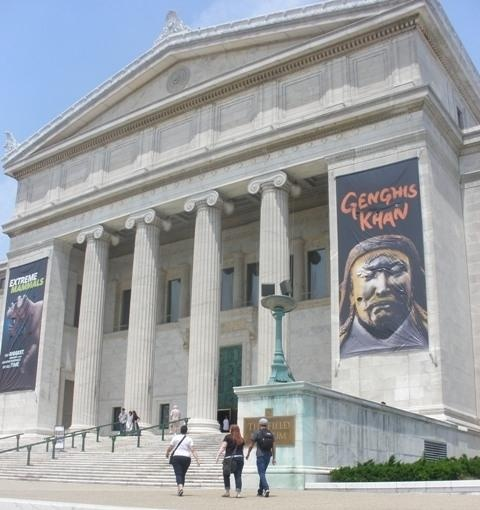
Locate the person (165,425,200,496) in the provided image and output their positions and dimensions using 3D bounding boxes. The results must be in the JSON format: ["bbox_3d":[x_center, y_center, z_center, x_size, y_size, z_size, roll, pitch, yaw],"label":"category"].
[{"bbox_3d":[-1.193,4.170,14.056,0.611,1.430,0.776,1,-21,-3],"label":"person"}]

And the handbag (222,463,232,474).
[{"bbox_3d":[-0.259,4.210,13.671,0.171,0.235,0.196,2,-21,-6],"label":"handbag"}]

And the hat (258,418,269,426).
[{"bbox_3d":[0.494,3.399,14.168,0.280,0.204,0.392,1,-16,-6],"label":"hat"}]

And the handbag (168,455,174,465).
[{"bbox_3d":[-1.390,4.117,13.856,0.070,0.149,0.271,3,-21,-8],"label":"handbag"}]

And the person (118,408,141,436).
[{"bbox_3d":[-4.672,7.024,29.104,1.036,1.238,0.444,-14,-29,19],"label":"person"}]

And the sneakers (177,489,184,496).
[{"bbox_3d":[-1.213,4.786,13.908,0.090,0.110,0.264,3,-9,-12],"label":"sneakers"}]

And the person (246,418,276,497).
[{"bbox_3d":[0.411,4.015,13.778,0.559,1.546,0.757,-1,-21,1],"label":"person"}]

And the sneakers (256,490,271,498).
[{"bbox_3d":[0.455,4.632,13.374,0.116,0.142,0.335,6,-23,-20],"label":"sneakers"}]

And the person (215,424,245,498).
[{"bbox_3d":[-0.192,4.093,13.735,0.506,1.405,0.676,1,-21,-2],"label":"person"}]

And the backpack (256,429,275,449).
[{"bbox_3d":[0.493,3.689,13.815,0.296,0.337,0.341,3,-44,-7],"label":"backpack"}]
